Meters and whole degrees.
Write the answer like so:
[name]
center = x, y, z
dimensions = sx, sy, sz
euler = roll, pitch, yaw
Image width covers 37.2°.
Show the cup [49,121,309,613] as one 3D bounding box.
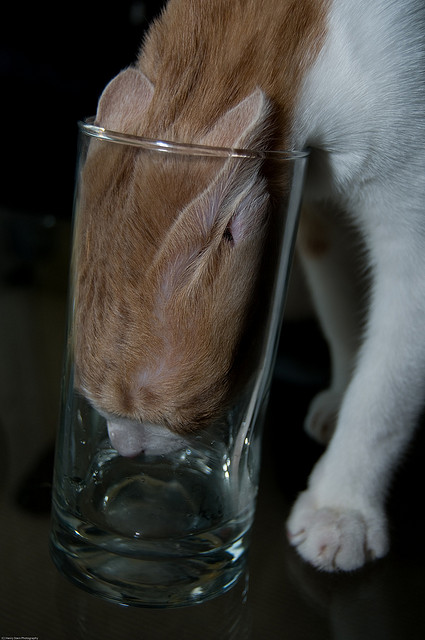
[cup]
center = -0.026, 0.027, 0.326
dimensions = 0.128, 0.231, 0.152
euler = 13, 39, 6
